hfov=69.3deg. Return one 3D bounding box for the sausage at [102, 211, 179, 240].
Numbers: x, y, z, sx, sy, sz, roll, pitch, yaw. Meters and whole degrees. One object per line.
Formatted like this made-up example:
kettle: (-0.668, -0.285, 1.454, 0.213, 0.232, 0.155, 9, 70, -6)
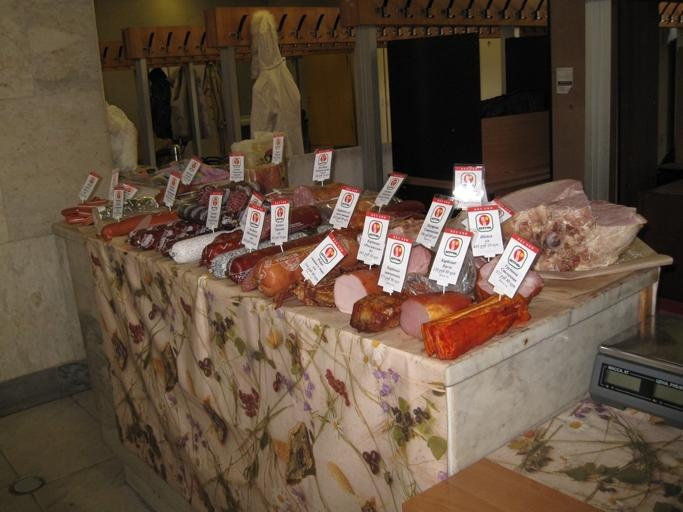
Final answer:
sausage: (-0.993, -0.155, 2.454, 0.381, 0.106, 0.166, -14, 23, -15)
